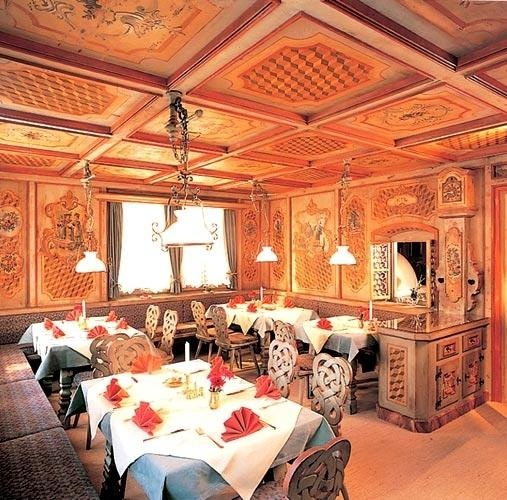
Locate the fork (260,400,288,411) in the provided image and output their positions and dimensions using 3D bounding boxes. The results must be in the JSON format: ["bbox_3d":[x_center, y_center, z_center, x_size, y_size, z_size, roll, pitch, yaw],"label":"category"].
[{"bbox_3d":[0.120,0.983,2.674,0.045,0.018,0.182,-1,-1,41],"label":"fork"}]

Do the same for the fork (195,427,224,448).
[{"bbox_3d":[-0.243,0.998,2.234,0.052,0.031,0.288,-7,2,-26],"label":"fork"}]
